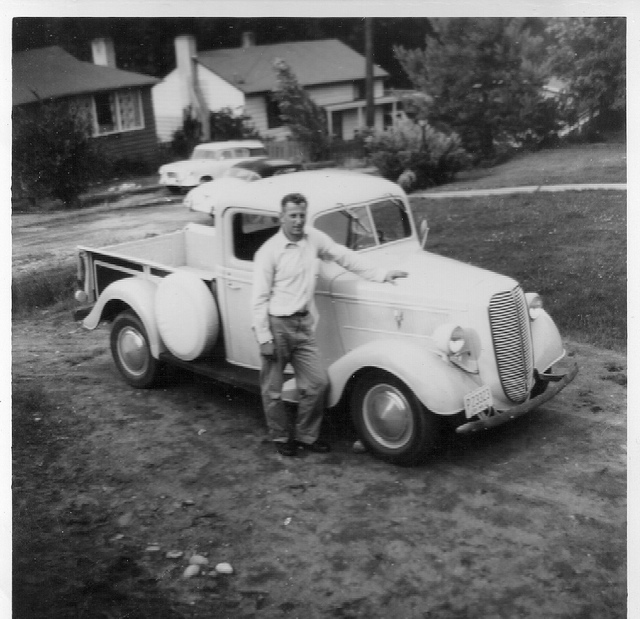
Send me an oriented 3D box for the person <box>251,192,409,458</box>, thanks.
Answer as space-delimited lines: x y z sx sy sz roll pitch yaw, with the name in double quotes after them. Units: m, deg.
-0.083 0.148 4.592 0.874 2.069 0.434 -3 12 -8 "person"
